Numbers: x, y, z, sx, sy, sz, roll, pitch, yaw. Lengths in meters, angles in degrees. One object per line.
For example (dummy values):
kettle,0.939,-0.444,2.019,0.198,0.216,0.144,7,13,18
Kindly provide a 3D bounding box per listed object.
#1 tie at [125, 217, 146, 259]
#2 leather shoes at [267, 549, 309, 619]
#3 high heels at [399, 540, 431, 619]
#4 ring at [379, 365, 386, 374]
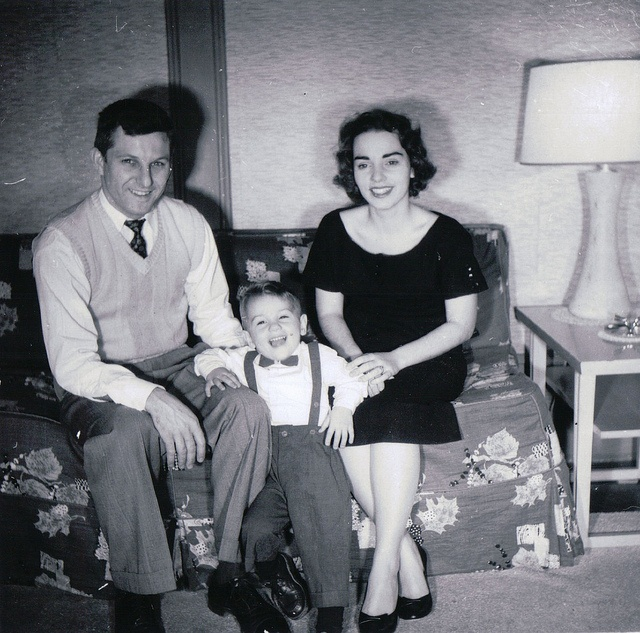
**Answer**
tie,-0.389,-0.169,1.492,0.044,0.074,0.017,-23,16,-35
leather shoes,-0.064,0.525,1.447,0.068,0.139,0.057,-35,-21,33
high heels,0.193,0.521,1.428,0.049,0.155,0.057,-1,-6,4
ring,0.129,0.112,1.474,0.009,0.015,0.004,0,-5,-24
